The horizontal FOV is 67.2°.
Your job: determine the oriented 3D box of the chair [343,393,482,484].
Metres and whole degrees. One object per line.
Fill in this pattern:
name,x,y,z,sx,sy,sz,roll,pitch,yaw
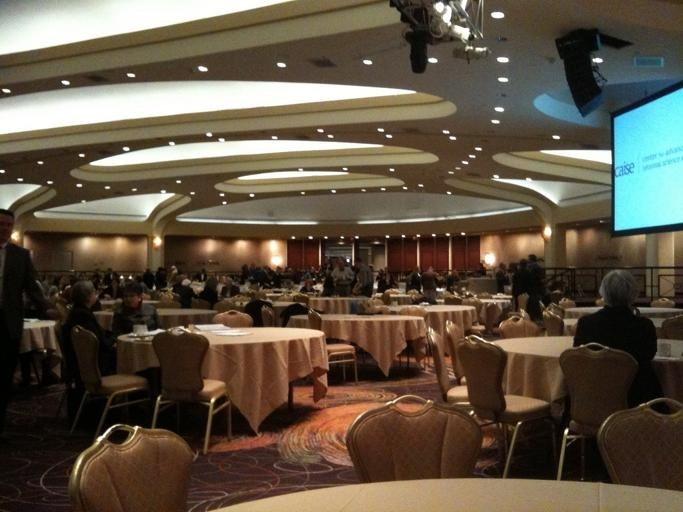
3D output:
chair,0.342,0.852,2.397,0.607,0.343,0.245,-1,-2,8

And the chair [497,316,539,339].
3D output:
chair,1.961,0.802,5.675,0.293,0.404,0.310,0,-8,-8

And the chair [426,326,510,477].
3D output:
chair,1.203,1.061,5.033,0.756,1.401,0.747,-3,1,13

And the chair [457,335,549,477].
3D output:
chair,1.337,1.187,4.170,0.722,1.084,0.630,-1,-2,-23

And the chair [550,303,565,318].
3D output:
chair,3.269,0.827,7.738,0.226,0.227,0.234,1,4,13

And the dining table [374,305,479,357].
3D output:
dining table,1.152,1.046,7.272,1.103,0.440,1.107,0,1,33

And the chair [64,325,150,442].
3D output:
chair,-2.219,1.183,4.958,0.687,1.080,0.660,0,-1,-35

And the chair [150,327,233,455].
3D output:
chair,-1.406,1.217,4.839,0.707,1.081,0.956,0,-2,-18

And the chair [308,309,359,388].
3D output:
chair,-0.144,1.292,7.413,0.629,1.081,0.654,-3,0,-12

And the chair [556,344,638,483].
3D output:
chair,1.908,1.184,3.682,0.584,1.059,0.588,-5,-11,44

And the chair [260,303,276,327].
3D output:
chair,-1.243,0.985,8.535,0.191,0.135,0.540,-13,-40,-7

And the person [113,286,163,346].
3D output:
person,-2.377,0.652,5.969,0.589,0.783,0.531,-1,-2,-4

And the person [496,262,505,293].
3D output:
person,5.368,0.729,17.232,0.293,0.967,0.720,-1,-2,19

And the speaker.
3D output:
speaker,3.021,-2.323,6.419,0.285,0.937,0.488,-14,7,-34

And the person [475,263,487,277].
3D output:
person,6.388,0.645,23.402,0.506,0.739,0.567,0,2,-8

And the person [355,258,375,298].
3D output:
person,0.621,0.844,13.764,0.479,1.542,0.524,-2,8,15

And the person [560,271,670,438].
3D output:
person,2.123,0.797,3.974,0.925,1.340,0.571,2,5,38

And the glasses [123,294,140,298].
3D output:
glasses,-2.340,0.450,5.786,0.081,0.053,0.099,0,-7,-1
